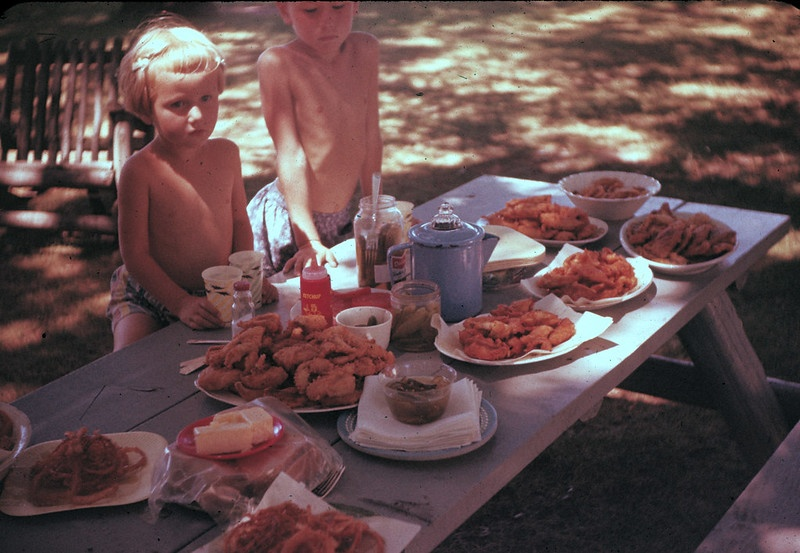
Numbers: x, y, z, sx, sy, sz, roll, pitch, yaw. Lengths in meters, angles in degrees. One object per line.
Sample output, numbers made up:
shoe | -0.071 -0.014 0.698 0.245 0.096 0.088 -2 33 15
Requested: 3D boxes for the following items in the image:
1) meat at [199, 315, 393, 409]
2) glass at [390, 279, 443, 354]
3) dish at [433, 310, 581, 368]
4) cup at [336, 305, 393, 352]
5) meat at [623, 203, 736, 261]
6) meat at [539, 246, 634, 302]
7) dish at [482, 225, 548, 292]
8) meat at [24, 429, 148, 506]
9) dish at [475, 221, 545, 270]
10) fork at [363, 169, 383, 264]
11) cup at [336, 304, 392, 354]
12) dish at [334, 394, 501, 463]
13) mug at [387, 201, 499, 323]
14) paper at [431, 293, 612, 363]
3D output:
meat | -0.345 0.277 2.112 0.442 0.139 0.321 -5 32 -7
glass | 0.051 0.133 2.371 0.239 0.249 0.229 0 10 2
dish | 0.370 0.216 2.308 0.303 0.076 0.246 -10 22 -14
cup | -0.119 0.168 2.351 0.160 0.100 0.160 0 9 0
meat | 1.177 -0.163 2.814 0.300 0.062 0.283 -2 32 5
meat | 0.739 0.005 2.594 0.264 0.100 0.257 -19 17 -17
dish | 0.425 -0.068 2.701 0.256 0.092 0.259 -32 24 -20
meat | -0.865 0.540 1.889 0.262 0.091 0.190 -14 54 -21
dish | 0.439 -0.111 2.663 0.224 0.055 0.212 5 26 4
fork | -0.104 -0.255 2.660 0.050 0.400 0.032 5 -5 9
cup | -0.116 0.174 2.352 0.158 0.105 0.161 0 12 0
dish | 0.054 0.464 2.011 0.477 0.038 0.211 -3 33 -4
mug | 0.188 -0.088 2.650 0.529 0.499 0.313 -5 25 -2
paper | 0.437 0.218 2.320 0.427 0.070 0.295 -11 19 -15
